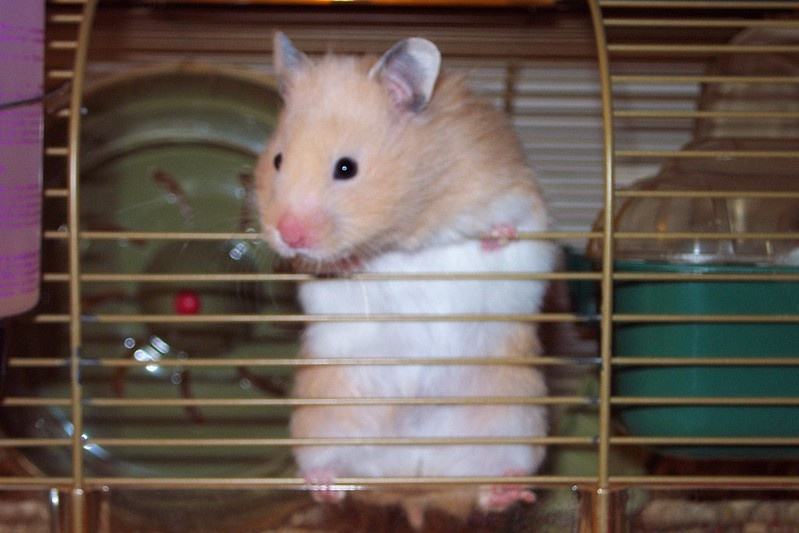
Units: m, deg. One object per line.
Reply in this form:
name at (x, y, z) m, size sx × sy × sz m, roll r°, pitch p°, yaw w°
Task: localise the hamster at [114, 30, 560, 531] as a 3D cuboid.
hamster at (0.059, 0.117, 1.943) m, size 0.537 × 1.022 × 0.764 m, roll -5°, pitch 51°, yaw 9°
